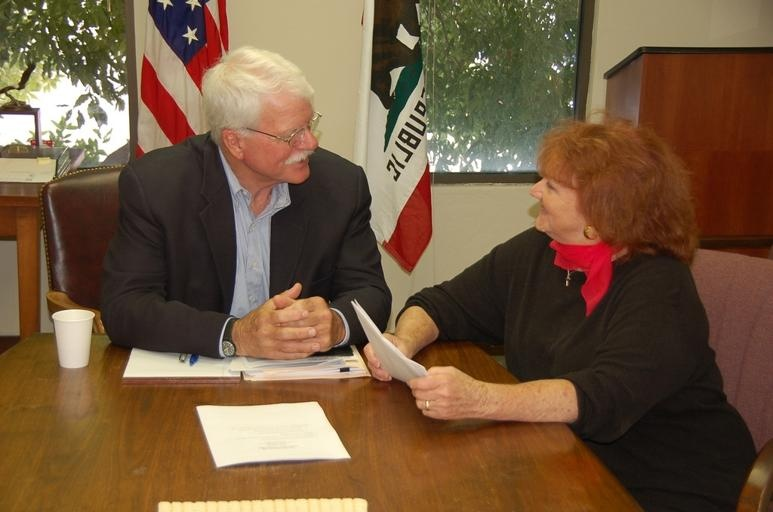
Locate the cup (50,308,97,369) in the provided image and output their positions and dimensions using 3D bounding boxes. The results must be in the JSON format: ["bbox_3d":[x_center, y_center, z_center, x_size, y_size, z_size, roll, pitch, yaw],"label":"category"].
[{"bbox_3d":[-0.933,0.259,1.928,0.154,0.183,0.158,1,0,0],"label":"cup"}]

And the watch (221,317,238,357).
[{"bbox_3d":[-0.510,0.270,1.975,0.046,0.094,0.080,0,-6,1],"label":"watch"}]

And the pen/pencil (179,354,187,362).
[{"bbox_3d":[-0.653,0.328,1.968,0.015,0.006,0.027,0,24,-9],"label":"pen/pencil"}]

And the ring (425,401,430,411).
[{"bbox_3d":[0.111,0.407,1.667,0.004,0.018,0.018,1,18,-11],"label":"ring"}]
